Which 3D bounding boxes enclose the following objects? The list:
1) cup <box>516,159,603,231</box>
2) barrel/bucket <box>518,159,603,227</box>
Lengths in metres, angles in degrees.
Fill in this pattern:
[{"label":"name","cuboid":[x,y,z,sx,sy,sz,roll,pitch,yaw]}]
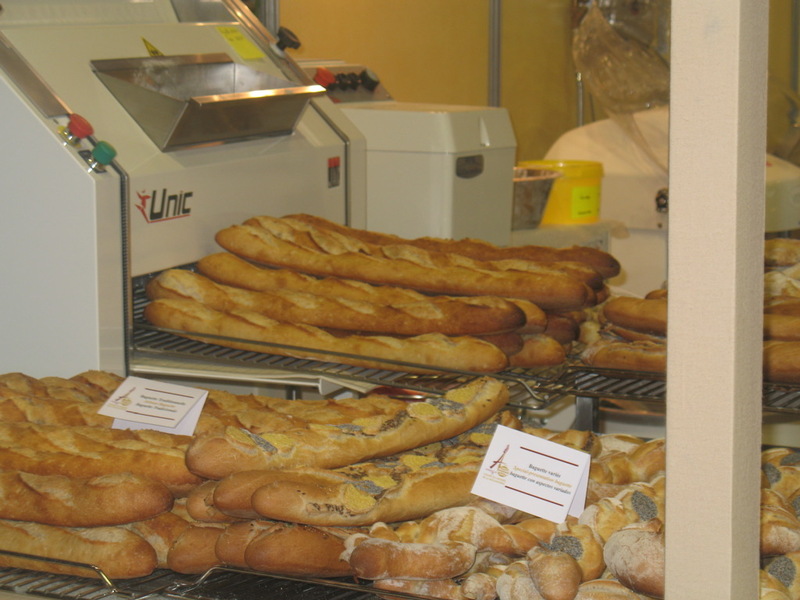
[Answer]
[{"label":"cup","cuboid":[0.284,-0.212,1.444,0.192,0.088,0.153,0,9,0]},{"label":"barrel/bucket","cuboid":[0.321,-0.213,1.441,0.187,0.086,0.149,-1,9,-5]}]
